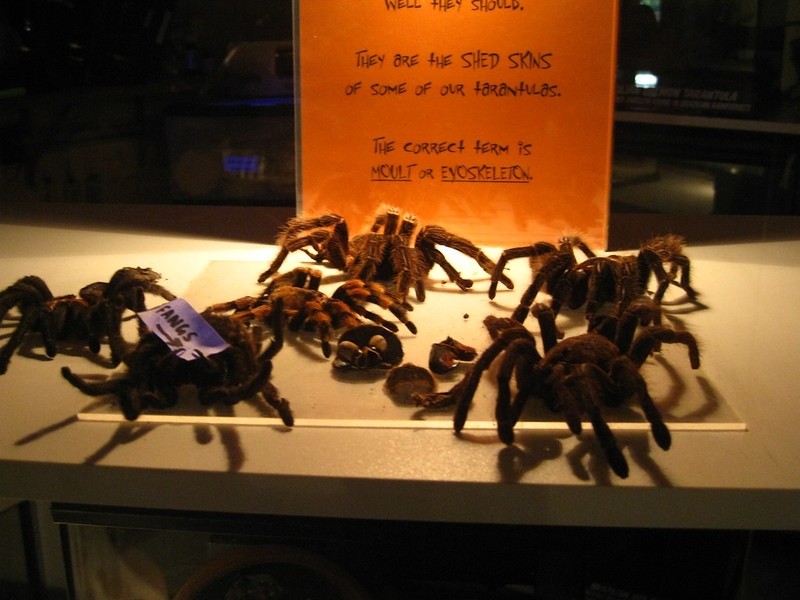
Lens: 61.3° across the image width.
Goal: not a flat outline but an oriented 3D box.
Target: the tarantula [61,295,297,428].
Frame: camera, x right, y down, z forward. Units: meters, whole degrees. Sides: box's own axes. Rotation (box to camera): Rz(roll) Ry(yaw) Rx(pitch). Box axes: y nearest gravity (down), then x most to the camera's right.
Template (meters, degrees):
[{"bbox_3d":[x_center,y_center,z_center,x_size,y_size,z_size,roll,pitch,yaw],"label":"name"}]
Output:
[{"bbox_3d":[-0.287,0.072,0.950,0.213,0.062,0.216,3,4,6],"label":"tarantula"}]

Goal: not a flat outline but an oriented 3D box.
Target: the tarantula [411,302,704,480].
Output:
[{"bbox_3d":[0.240,0.103,0.981,0.319,0.199,0.275,7,12,26],"label":"tarantula"}]

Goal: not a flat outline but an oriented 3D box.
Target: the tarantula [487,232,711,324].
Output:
[{"bbox_3d":[0.329,-0.046,1.219,0.224,0.068,0.254,6,15,34],"label":"tarantula"}]

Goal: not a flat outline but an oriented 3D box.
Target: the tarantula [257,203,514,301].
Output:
[{"bbox_3d":[-0.055,-0.090,1.376,0.397,0.103,0.456,-8,-10,33],"label":"tarantula"}]

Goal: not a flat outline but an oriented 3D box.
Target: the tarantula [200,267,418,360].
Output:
[{"bbox_3d":[-0.140,0.010,1.134,0.224,0.049,0.220,-3,19,-40],"label":"tarantula"}]
